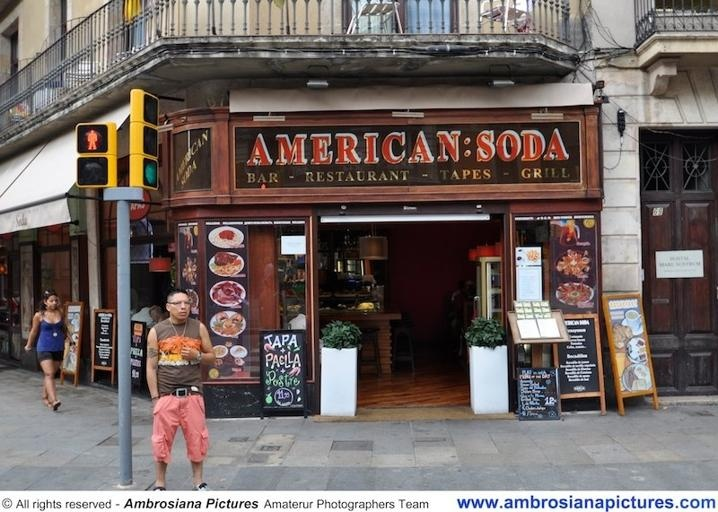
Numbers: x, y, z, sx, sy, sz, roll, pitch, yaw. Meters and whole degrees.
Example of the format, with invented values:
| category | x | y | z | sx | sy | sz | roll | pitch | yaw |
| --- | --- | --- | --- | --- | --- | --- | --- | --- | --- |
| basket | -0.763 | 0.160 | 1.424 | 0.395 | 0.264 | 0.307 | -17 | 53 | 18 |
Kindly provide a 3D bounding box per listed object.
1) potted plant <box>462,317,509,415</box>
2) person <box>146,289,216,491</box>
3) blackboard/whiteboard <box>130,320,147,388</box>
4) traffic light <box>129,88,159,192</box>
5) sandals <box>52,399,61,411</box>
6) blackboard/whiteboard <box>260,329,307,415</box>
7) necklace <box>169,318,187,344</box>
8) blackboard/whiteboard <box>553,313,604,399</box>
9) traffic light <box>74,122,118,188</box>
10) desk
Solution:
| category | x | y | z | sx | sy | sz | roll | pitch | yaw |
| --- | --- | --- | --- | --- | --- | --- | --- | --- | --- |
| potted plant | 2.192 | 1.858 | 13.059 | 0.683 | 1.598 | 0.312 | -3 | -5 | 9 |
| person | -2.331 | 1.747 | 10.121 | 0.811 | 2.551 | 0.231 | -1 | -5 | -11 |
| blackboard/whiteboard | -4.229 | 1.934 | 14.949 | 0.254 | 1.370 | 0.560 | 3 | -7 | -44 |
| traffic light | -2.924 | -1.568 | 10.587 | 0.400 | 1.317 | 0.294 | 1 | -6 | -33 |
| sandals | -5.445 | 2.694 | 13.967 | 0.091 | 0.110 | 0.252 | 10 | -47 | -35 |
| blackboard/whiteboard | -1.272 | 1.969 | 13.099 | 0.736 | 1.404 | 0.102 | -2 | -5 | 0 |
| necklace | -2.340 | 0.991 | 10.117 | 0.177 | 0.234 | 0.152 | -1 | -3 | -21 |
| blackboard/whiteboard | 3.736 | 1.671 | 13.024 | 0.734 | 1.320 | 0.143 | -1 | -5 | -9 |
| traffic light | -3.531 | -1.348 | 10.421 | 0.502 | 0.881 | 0.271 | -1 | -5 | -13 |
| desk | 0.138 | 1.842 | 16.637 | 1.385 | 1.010 | 1.375 | -1 | 4 | 1 |
